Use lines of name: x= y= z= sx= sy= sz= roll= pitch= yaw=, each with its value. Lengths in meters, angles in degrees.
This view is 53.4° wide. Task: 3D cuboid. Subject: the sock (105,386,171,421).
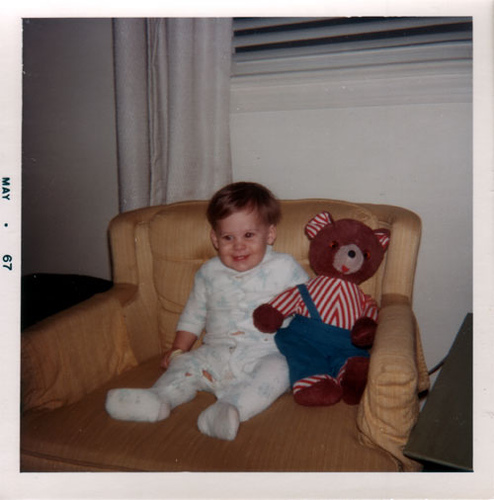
sock: x=-0.248 y=0.350 z=1.121 sx=0.146 sy=0.064 sz=0.064 roll=-1 pitch=10 yaw=0

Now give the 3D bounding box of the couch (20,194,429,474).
couch: x=-0.034 y=0.268 z=1.334 sx=0.976 sy=0.712 sz=0.754 roll=0 pitch=9 yaw=15

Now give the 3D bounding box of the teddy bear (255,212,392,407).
teddy bear: x=0.202 y=0.140 z=1.254 sx=0.374 sy=0.439 sz=0.292 roll=5 pitch=17 yaw=-5
